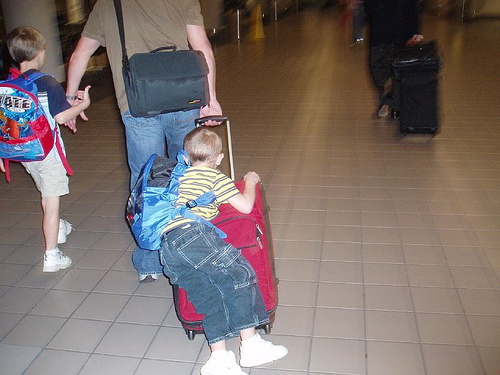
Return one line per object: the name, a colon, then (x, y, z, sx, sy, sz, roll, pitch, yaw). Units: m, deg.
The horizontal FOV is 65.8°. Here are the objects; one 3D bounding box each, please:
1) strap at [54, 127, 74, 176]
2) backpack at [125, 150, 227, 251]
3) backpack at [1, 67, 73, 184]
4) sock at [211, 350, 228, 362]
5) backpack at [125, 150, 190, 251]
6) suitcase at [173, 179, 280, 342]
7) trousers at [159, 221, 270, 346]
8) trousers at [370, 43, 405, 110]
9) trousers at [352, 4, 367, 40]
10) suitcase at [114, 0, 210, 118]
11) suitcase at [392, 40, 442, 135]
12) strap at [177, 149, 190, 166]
strap: (-1.462, -0.264, 3.009, 0.070, 0.278, 0.203, -17, 18, -5)
backpack: (-0.464, 0.064, 2.294, 0.563, 0.541, 0.410, -6, 11, -22)
backpack: (-1.624, -0.440, 2.826, 0.498, 0.842, 0.215, -7, 26, -6)
sock: (-0.155, 0.887, 2.039, 0.066, 0.051, 0.028, 1, -7, -9)
backpack: (-0.524, 0.058, 2.231, 0.324, 0.442, 0.575, 12, 54, -8)
suitcase: (-0.173, 0.419, 2.479, 0.669, 1.016, 0.547, -4, 6, 6)
trousers: (-0.171, 0.512, 2.145, 0.480, 0.649, 0.366, -32, 3, 42)
trousers: (2.157, -1.777, 6.112, 0.643, 0.928, 0.334, -2, 16, 23)
trousers: (1.879, -2.848, 6.585, 0.282, 0.545, 0.265, -5, 26, -2)
suitcase: (-0.539, -0.707, 2.557, 0.557, 0.374, 0.235, -13, 27, -17)
suitcase: (2.378, -1.383, 5.479, 0.686, 1.160, 0.385, 6, 28, 19)
strap: (-0.401, -0.182, 2.316, 0.071, 0.094, 0.085, -12, -8, 4)
